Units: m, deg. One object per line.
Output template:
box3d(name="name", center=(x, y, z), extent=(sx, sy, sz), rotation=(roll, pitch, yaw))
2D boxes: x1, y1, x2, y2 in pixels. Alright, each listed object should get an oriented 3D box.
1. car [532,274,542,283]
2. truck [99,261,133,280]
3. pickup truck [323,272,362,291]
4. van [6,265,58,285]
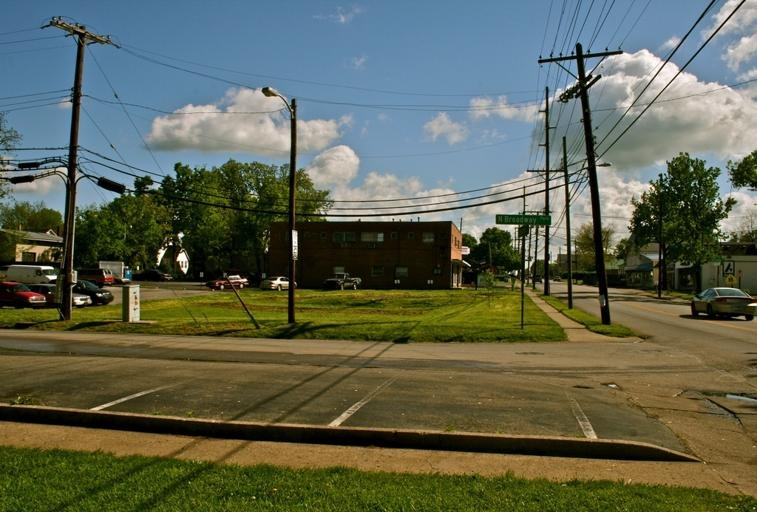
box3d(name="car", center=(30.238, 4.282, 128.257), extent=(2.175, 1.591, 3.344), rotation=(1, 3, 19))
box3d(name="truck", center=(-28.881, 1.441, 73.951), extent=(3.889, 2.490, 2.542), rotation=(1, 0, -3))
box3d(name="pickup truck", center=(-3.515, 2.377, 63.300), extent=(1.577, 1.044, 3.184), rotation=(-2, -7, 24))
box3d(name="van", center=(-25.787, 1.397, 50.161), extent=(2.408, 1.100, 1.354), rotation=(-1, 0, -3))
